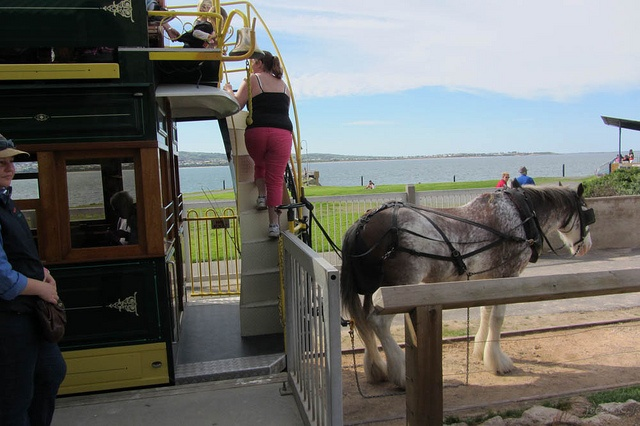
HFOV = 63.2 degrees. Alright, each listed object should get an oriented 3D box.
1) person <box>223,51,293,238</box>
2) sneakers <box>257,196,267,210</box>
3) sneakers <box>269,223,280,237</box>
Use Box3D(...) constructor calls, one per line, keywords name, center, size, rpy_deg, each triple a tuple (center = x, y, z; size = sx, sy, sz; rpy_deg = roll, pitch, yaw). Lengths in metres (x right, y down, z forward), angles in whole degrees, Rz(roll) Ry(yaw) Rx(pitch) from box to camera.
Box3D(name="person", center=(-0.776, -0.933, 7.206), size=(0.671, 2.525, 0.592), rpy_deg=(4, 7, 16))
Box3D(name="sneakers", center=(-0.812, -0.137, 7.206), size=(0.193, 0.236, 0.524), rpy_deg=(0, -1, -6))
Box3D(name="sneakers", center=(-0.637, 0.249, 7.177), size=(0.140, 0.195, 0.208), rpy_deg=(1, 7, -6))
